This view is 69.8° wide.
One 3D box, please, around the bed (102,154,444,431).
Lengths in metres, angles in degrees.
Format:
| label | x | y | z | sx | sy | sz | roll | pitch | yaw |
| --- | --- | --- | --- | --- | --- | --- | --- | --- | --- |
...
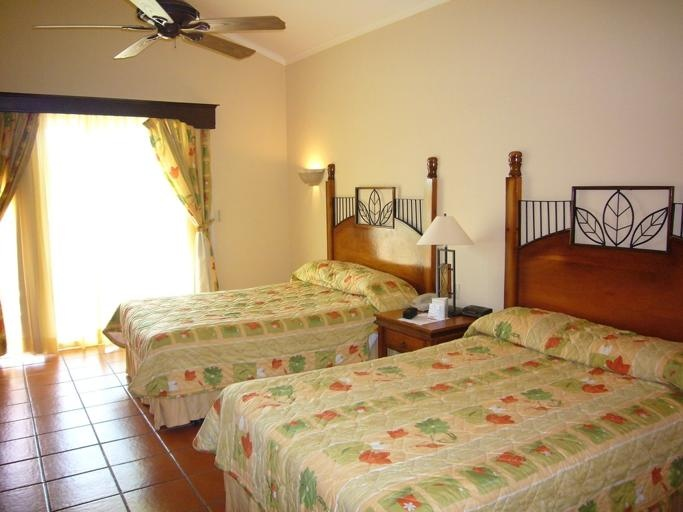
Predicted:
| label | x | y | z | sx | sy | sz | roll | pitch | yaw |
| --- | --- | --- | --- | --- | --- | --- | --- | --- | --- |
| bed | -0.733 | 0.259 | 4.755 | 2.824 | 1.754 | 1.924 | -7 | 11 | -33 |
